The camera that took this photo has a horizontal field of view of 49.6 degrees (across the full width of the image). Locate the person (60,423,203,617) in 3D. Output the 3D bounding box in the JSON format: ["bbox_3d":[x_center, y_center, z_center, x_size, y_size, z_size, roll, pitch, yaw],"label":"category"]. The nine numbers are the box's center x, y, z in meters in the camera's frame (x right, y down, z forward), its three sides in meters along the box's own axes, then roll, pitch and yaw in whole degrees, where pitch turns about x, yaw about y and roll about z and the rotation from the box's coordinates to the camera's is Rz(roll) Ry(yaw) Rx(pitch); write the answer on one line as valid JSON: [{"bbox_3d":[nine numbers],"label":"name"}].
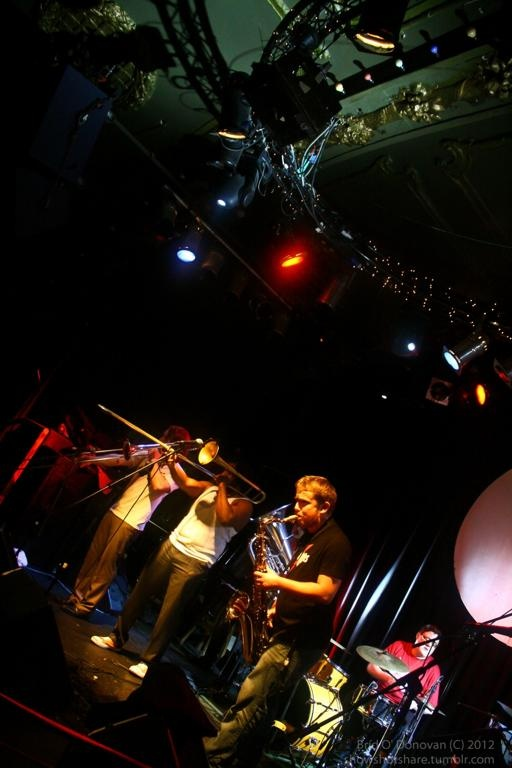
[{"bbox_3d":[-1.091,1.101,4.838,0.868,1.536,0.957,2,1,-29],"label":"person"}]

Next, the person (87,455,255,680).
[{"bbox_3d":[-0.537,1.318,4.105,0.672,1.958,0.746,30,-12,-22],"label":"person"}]

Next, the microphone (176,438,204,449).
[{"bbox_3d":[-0.505,0.463,4.270,0.142,0.057,0.103,-2,-6,35],"label":"microphone"}]

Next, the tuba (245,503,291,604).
[{"bbox_3d":[0.152,1.334,4.619,0.329,0.820,0.326,1,-2,-31],"label":"tuba"}]
